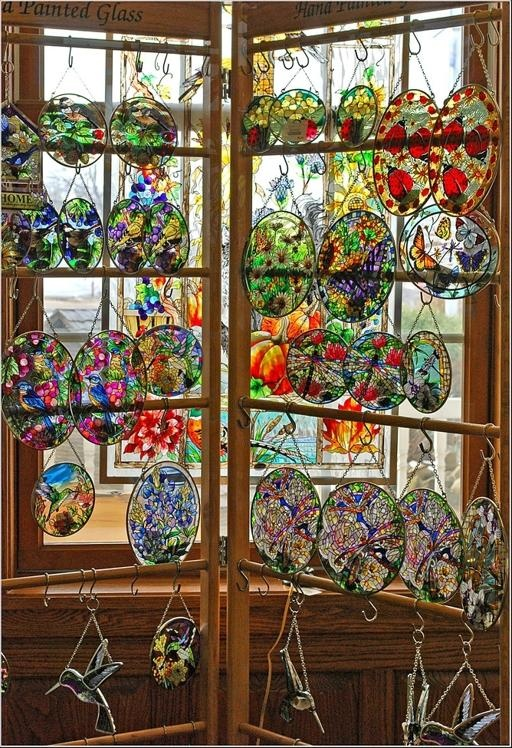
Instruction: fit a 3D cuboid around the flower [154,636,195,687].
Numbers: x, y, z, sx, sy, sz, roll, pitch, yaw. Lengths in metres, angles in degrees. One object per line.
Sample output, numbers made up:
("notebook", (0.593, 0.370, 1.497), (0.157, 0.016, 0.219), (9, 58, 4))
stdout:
("flower", (-0.149, 0.499, 2.068), (0.025, 0.086, 0.089), (-4, -6, 42))
